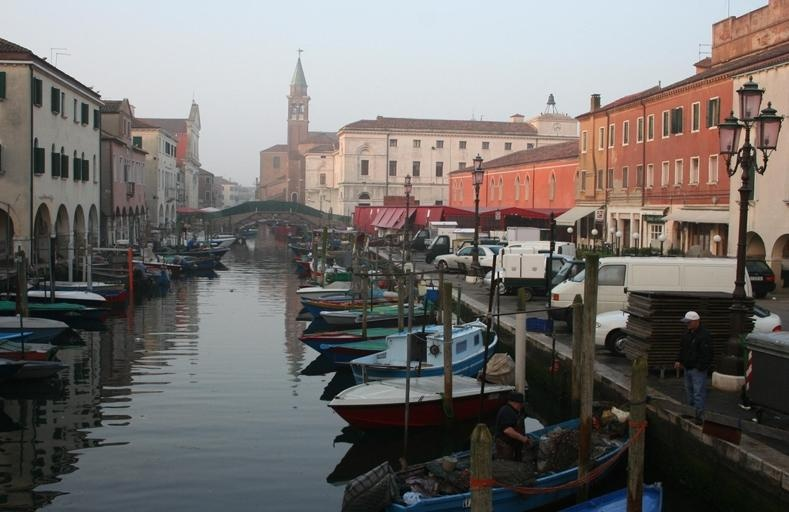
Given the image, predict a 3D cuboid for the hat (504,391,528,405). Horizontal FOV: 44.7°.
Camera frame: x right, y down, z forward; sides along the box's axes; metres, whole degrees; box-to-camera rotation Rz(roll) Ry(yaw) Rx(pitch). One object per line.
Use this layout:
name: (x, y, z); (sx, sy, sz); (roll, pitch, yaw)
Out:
hat: (3.648, 4.202, 28.735); (0.593, 0.262, 0.774); (1, -7, 0)

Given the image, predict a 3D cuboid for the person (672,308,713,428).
person: (8.953, 3.073, 28.356); (0.890, 2.756, 1.013); (-5, 13, -1)

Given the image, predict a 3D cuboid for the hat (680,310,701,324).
hat: (8.969, 1.797, 28.581); (0.594, 0.289, 0.416); (2, -3, -35)
